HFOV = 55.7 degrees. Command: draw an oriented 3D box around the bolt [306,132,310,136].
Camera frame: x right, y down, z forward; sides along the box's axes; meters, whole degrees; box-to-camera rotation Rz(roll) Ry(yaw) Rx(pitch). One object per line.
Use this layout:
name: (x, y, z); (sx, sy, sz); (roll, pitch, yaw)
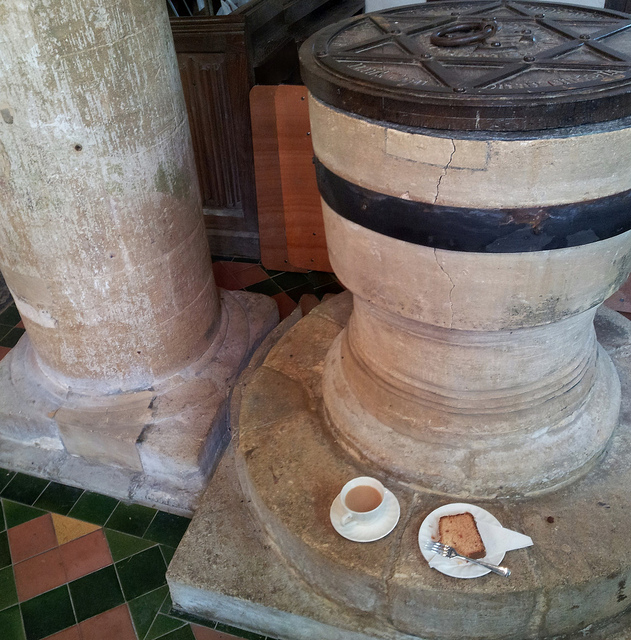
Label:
bolt: (-0.037, -1.034, 3.309); (0.007, 0.019, 0.027); (-20, 35, -23)

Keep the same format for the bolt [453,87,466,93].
bolt: (0.341, -0.543, 1.403); (0.022, 0.006, 0.021); (0, 39, 8)

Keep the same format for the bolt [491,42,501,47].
bolt: (0.508, -0.771, 1.667); (0.022, 0.009, 0.022); (2, 50, 7)

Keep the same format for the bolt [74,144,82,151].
bolt: (-0.803, -0.588, 2.022); (0.023, 0.022, 0.005); (2, 9, -21)

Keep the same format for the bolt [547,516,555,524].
bolt: (0.753, 0.636, 1.906); (0.021, 0.002, 0.028); (14, 35, 28)

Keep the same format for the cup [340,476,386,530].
cup: (0.160, 0.591, 1.959); (0.149, 0.089, 0.164); (-1, 31, 4)

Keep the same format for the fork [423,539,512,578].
fork: (0.456, 0.718, 1.789); (0.264, 0.021, 0.035); (16, 68, 10)

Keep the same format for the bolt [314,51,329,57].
bolt: (0.014, -0.788, 1.764); (0.037, 0.007, 0.035); (0, 33, 2)
